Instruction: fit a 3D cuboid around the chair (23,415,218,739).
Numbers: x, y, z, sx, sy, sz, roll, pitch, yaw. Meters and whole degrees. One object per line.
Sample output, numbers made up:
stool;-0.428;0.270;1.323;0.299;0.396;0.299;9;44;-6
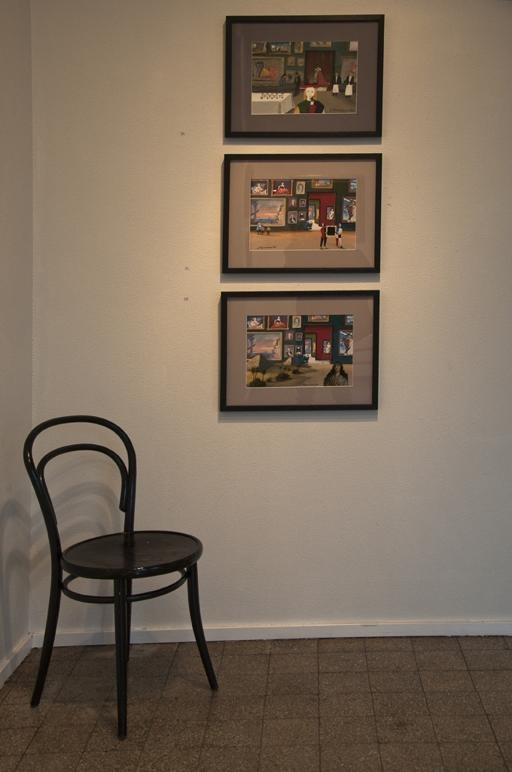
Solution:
chair;-0.384;0.460;2.053;0.507;0.746;0.644;-4;7;-26
